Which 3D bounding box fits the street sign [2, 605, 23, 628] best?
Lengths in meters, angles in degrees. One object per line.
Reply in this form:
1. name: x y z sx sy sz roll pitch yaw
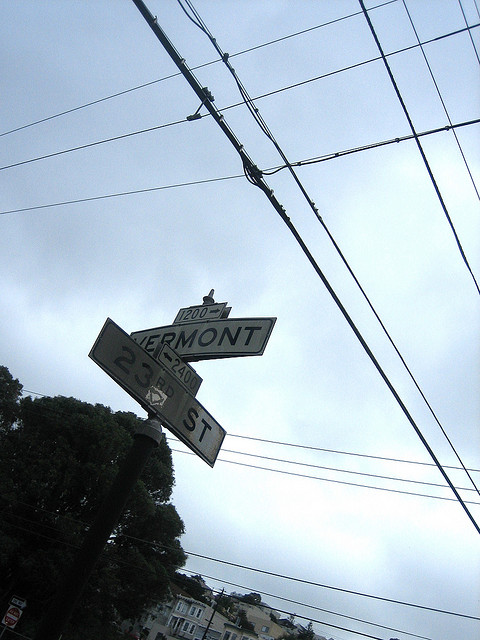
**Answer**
1. street sign: -7.068 9.176 21.237 0.395 0.548 0.632 29 -27 -8
